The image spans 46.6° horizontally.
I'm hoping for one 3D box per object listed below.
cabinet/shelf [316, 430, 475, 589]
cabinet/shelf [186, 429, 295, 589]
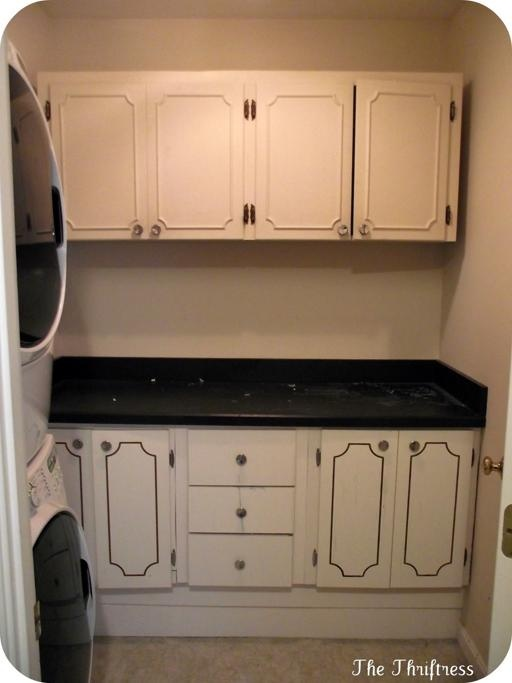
[{"bbox_3d":[0.480,0.479,2.140,0.515,0.689,0.363,-1,28,6],"label":"cabinet/shelf"},{"bbox_3d":[-0.051,0.537,2.177,0.344,0.746,0.431,0,9,1],"label":"cabinet/shelf"}]
